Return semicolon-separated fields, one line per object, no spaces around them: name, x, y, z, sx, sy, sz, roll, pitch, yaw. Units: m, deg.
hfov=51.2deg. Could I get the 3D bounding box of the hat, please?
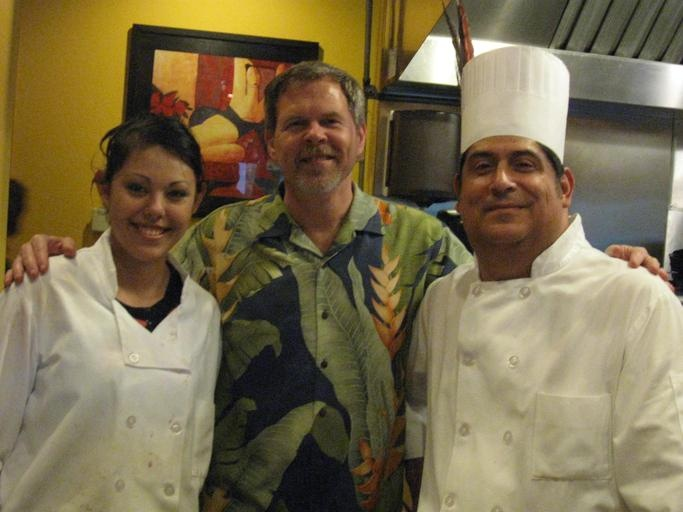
hat;0.498;-0.387;2.017;0.266;0.261;0.336;-5;-26;25
